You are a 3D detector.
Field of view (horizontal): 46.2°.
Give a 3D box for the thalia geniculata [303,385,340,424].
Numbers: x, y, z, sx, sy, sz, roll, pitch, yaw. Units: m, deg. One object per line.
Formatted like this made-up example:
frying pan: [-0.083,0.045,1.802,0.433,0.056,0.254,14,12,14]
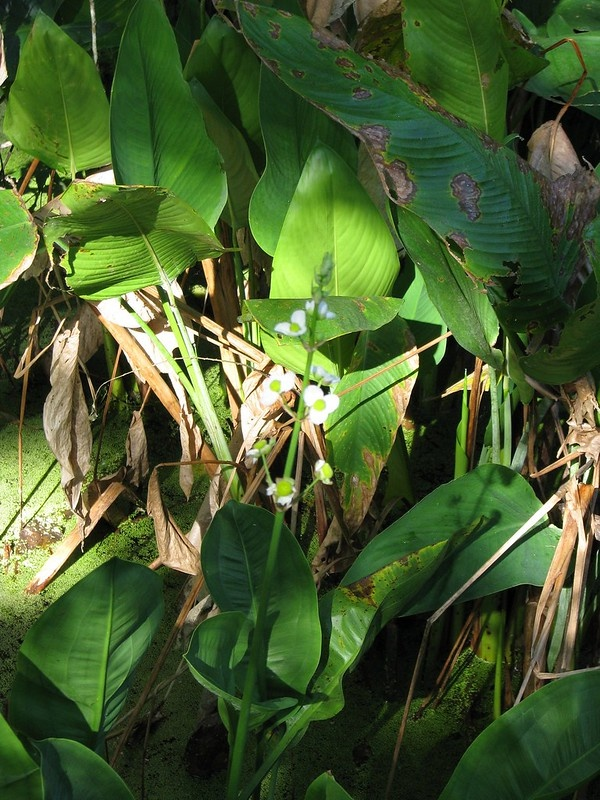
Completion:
thalia geniculata: [0.011,0.000,0.359,0.020,0.019,0.006,-19,21,-28]
